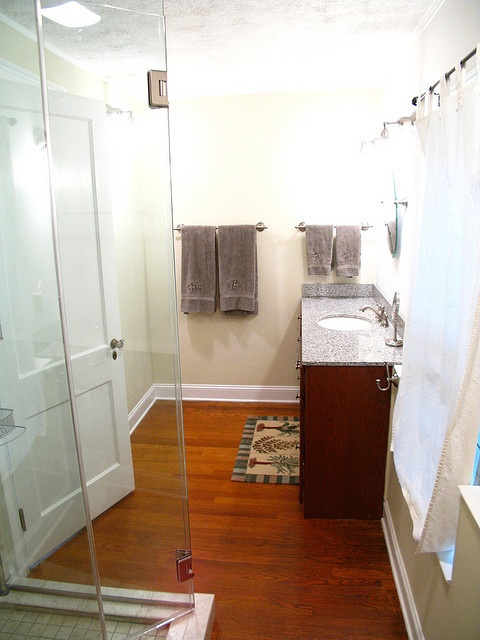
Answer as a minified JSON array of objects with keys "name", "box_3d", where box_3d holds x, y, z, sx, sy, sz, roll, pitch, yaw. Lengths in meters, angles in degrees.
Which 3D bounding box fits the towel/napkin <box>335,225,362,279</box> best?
[{"name":"towel/napkin","box_3d":[0.747,-0.483,3.332,0.158,0.349,0.049,-2,10,-2]}]

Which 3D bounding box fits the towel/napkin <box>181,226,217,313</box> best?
[{"name":"towel/napkin","box_3d":[-0.311,-0.365,3.455,0.272,0.615,0.063,2,11,19]}]

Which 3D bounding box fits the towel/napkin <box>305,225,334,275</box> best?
[{"name":"towel/napkin","box_3d":[0.552,-0.486,3.363,0.187,0.377,0.041,0,-12,6]}]
